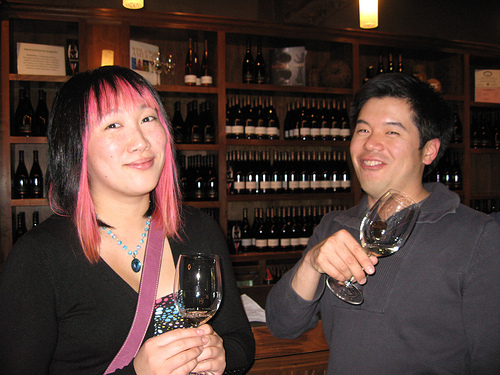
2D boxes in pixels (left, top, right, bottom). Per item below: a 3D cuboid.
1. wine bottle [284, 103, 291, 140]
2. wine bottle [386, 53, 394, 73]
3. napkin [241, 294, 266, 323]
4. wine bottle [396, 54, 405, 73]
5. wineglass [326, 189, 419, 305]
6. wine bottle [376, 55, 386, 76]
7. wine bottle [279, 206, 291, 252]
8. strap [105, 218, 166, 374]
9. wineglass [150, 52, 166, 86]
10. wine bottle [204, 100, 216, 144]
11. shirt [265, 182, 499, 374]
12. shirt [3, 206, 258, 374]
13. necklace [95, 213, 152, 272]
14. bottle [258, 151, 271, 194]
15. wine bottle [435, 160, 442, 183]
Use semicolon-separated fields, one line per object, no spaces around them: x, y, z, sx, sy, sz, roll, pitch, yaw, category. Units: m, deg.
0.325;-0.588;3.965;0.063;0.313;0.153;-2;6;7;wine bottle
1.266;-1.133;4.081;0.050;0.175;0.153;-2;6;10;wine bottle
0.015;0.615;2.256;0.071;0.003;0.173;2;18;-12;napkin
1.399;-1.155;4.202;0.070;0.157;0.234;0;6;22;wine bottle
0.459;0.218;1.682;0.169;0.455;0.186;27;20;8;wineglass
1.198;-1.132;4.137;0.079;0.162;0.079;-3;6;0;wine bottle
0.317;0.347;3.951;0.102;0.417;0.106;3;17;-1;wine bottle
-0.367;0.382;1.551;0.087;0.651;0.035;5;-13;5;strap
-0.718;-0.933;3.535;0.115;0.299;0.326;-4;6;-11;wineglass
-0.332;-0.538;3.666;0.090;0.362;0.167;-3;6;-9;wine bottle
0.506;0.381;1.813;0.455;0.821;0.794;9;-12;-42;shirt
-0.423;0.389;1.565;0.784;0.587;0.409;-5;6;-21;shirt
-0.457;0.205;1.606;0.190;0.196;0.020;-3;-7;-33;necklace
0.119;-0.132;3.795;0.099;0.342;0.268;-2;6;1;bottle
1.703;-0.144;4.086;0.058;0.188;0.240;0;7;24;wine bottle
